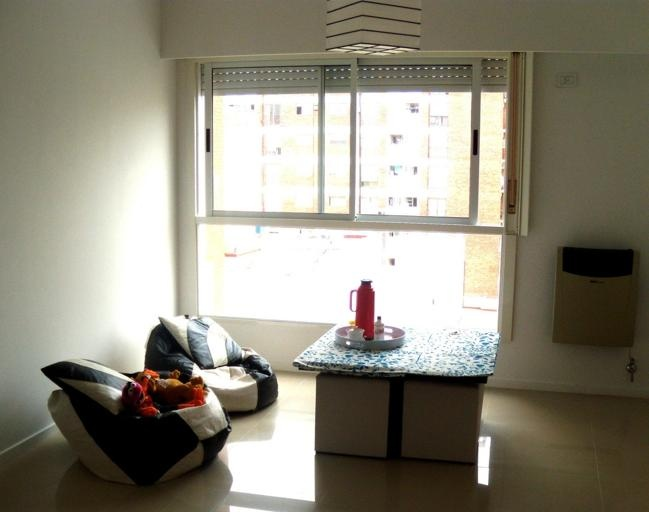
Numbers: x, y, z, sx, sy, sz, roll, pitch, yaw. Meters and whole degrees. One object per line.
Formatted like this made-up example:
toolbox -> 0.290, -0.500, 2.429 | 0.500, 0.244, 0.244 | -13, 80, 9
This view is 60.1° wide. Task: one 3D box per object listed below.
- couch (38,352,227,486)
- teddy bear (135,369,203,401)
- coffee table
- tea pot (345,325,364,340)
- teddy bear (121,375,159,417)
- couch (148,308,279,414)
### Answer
couch -> -1.220, 1.024, 3.570 | 1.070, 0.635, 0.480 | 4, 11, 17
teddy bear -> -1.008, 0.890, 3.769 | 0.279, 0.109, 0.273 | 14, -1, 2
coffee table -> 0.502, 0.867, 3.745 | 0.941, 0.421, 0.941 | 1, 3, 16
tea pot -> 0.213, 0.552, 3.987 | 0.096, 0.088, 0.078 | 0, 3, 11
teddy bear -> -1.145, 0.877, 3.488 | 0.208, 0.199, 0.098 | -3, -23, -33
couch -> -0.921, 0.885, 4.738 | 1.115, 0.640, 1.146 | 7, 0, -12
